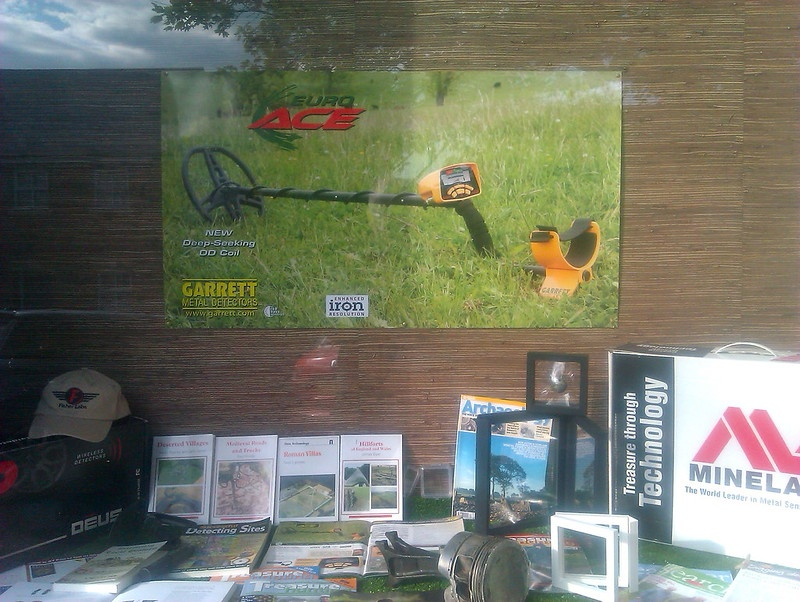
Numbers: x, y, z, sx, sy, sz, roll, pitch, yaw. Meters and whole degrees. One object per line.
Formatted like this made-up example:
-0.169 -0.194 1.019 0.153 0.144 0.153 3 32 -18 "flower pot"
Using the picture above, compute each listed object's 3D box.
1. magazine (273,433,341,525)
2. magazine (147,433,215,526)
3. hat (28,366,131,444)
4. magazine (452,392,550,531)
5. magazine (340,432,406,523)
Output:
-0.362 0.692 2.759 0.356 0.396 0.034 0 -26 -2 "magazine"
-0.836 0.670 2.747 0.231 0.200 0.146 1 0 -12 "magazine"
-1.221 0.367 2.741 0.349 0.191 0.440 9 9 -9 "hat"
0.361 0.598 2.709 0.279 0.385 0.361 1 0 -20 "magazine"
-0.114 0.688 2.768 0.341 0.402 0.047 1 -22 -4 "magazine"
